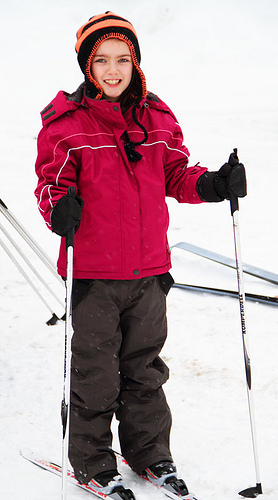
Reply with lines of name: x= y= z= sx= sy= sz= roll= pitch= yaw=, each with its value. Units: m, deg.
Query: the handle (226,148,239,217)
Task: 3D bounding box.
handle: x=0.295 y=-0.221 z=1.502 sx=0.040 sy=0.169 sz=0.217 roll=-3 pitch=-2 yaw=12

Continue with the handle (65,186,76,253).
handle: x=-0.176 y=-0.081 z=1.238 sx=0.030 sy=0.164 sz=0.066 roll=-2 pitch=-2 yaw=-11

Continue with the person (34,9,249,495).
person: x=-0.021 y=0.038 z=1.480 sx=0.575 sy=1.417 sz=0.402 roll=-2 pitch=-2 yaw=-23
